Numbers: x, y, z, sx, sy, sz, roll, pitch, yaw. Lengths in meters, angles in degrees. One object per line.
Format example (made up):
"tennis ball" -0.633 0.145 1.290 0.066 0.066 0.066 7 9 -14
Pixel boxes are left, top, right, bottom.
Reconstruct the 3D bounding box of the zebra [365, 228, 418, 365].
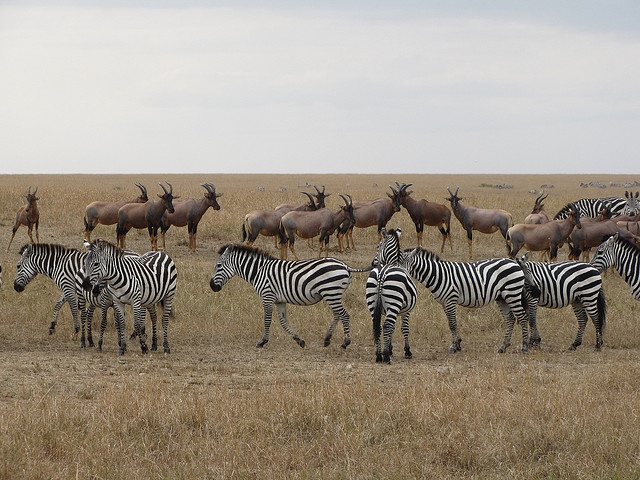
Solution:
"zebra" 1.854 1.161 24.614 1.080 3.182 3.845 0 3 11

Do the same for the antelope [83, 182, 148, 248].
"antelope" -7.715 -1.071 37.376 1.815 2.934 1.787 -6 11 -37

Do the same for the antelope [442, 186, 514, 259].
"antelope" 5.465 -0.498 36.035 2.380 2.190 0.720 5 12 17

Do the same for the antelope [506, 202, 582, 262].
"antelope" 6.859 -0.179 31.789 2.257 2.102 0.768 -2 11 16

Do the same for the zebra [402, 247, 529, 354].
"zebra" 3.436 1.558 24.815 2.464 2.703 2.549 -8 10 -39

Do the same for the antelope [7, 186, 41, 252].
"antelope" -11.270 -0.800 39.710 0.946 3.209 1.020 4 8 33

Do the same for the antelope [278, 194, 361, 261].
"antelope" 0.145 -0.520 35.707 3.386 3.251 1.240 -4 7 -19

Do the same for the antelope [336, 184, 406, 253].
"antelope" 1.584 -0.861 37.549 1.677 2.819 1.693 -9 11 -38
